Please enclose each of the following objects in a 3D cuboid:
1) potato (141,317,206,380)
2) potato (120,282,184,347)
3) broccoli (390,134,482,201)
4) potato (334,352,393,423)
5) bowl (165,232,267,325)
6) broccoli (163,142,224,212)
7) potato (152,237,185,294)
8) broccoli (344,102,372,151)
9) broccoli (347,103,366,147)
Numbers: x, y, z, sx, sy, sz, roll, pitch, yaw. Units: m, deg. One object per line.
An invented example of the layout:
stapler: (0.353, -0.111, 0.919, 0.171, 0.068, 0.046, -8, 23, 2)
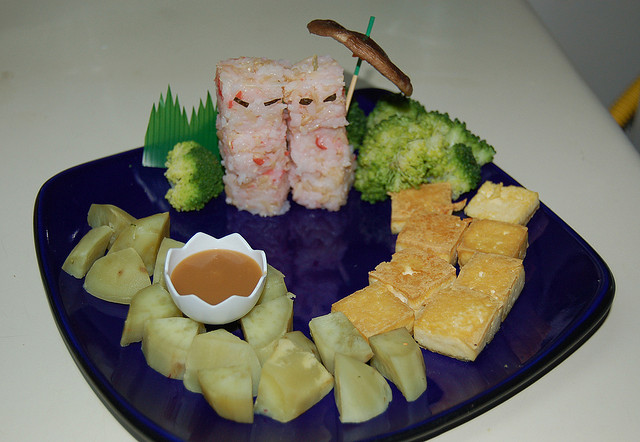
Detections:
potato: (-0.755, 0.639, 2.902, 0.207, 0.285, 0.343, 11, 21, 34)
potato: (-0.892, 0.457, 2.915, 0.302, 0.097, 0.284, 6, 45, 3)
broccoli: (0.990, -0.410, 3.753, 0.205, 0.440, 0.380, 24, 46, -4)
potato: (0.221, 0.821, 2.747, 0.294, 0.127, 0.318, 1, 68, -4)
bowl: (-0.555, 0.285, 2.992, 0.457, 0.266, 0.514, 0, 43, -6)
broccoli: (-0.815, -0.290, 3.592, 0.354, 0.111, 0.441, 3, 80, -12)
potato: (-0.844, 0.253, 3.201, 0.141, 0.236, 0.209, -15, 25, -29)
broccoli: (0.261, -0.655, 3.860, 0.180, 0.106, 0.321, 2, 88, -9)
broccoli: (0.253, -0.663, 3.858, 0.145, 0.079, 0.254, 13, 83, -19)
